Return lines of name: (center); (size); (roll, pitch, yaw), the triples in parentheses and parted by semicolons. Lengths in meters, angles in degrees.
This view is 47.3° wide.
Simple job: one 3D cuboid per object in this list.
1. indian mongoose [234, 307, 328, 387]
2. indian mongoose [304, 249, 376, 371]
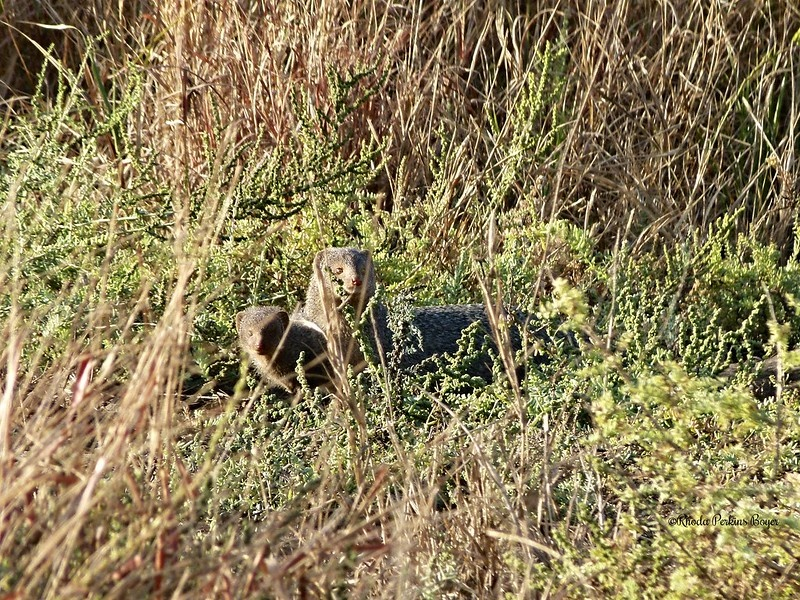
indian mongoose: (-0.614, 0.245, 4.770); (0.355, 0.472, 0.716); (-8, 4, 11)
indian mongoose: (-0.358, -0.008, 4.956); (0.290, 0.513, 0.949); (-2, -2, -15)
